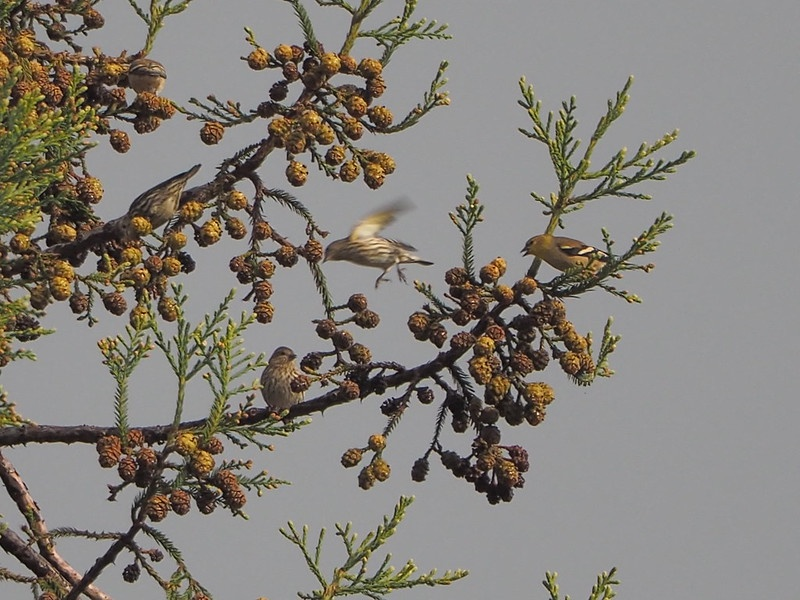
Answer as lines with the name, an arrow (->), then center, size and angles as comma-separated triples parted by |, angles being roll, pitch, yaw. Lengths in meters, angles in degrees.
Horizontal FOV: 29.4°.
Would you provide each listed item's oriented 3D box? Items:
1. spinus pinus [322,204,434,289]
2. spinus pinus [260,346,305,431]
spinus pinus -> -0.214, -0.529, 13.446 | 0.818, 0.867, 0.677 | -11, -91, -2
spinus pinus -> -1.098, 0.712, 13.564 | 0.355, 0.641, 0.639 | 6, -97, -19
